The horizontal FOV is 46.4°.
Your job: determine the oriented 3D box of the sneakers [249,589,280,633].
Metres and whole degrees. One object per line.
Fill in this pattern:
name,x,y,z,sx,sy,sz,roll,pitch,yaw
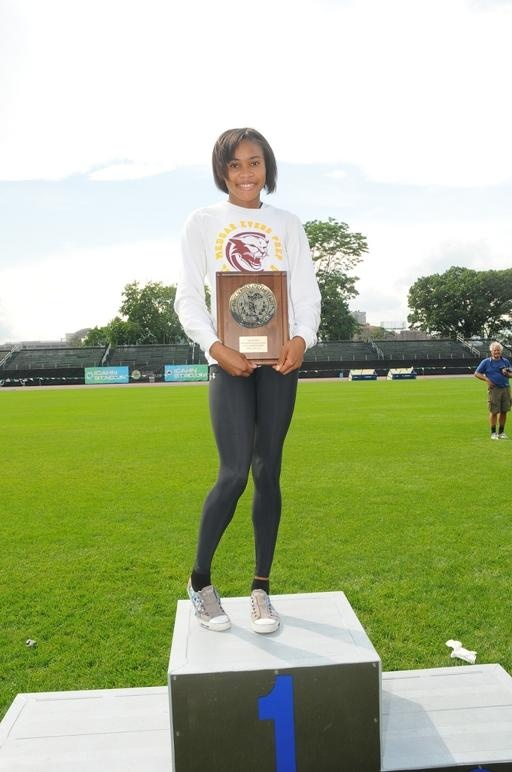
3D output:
sneakers,0.026,0.777,2.046,0.084,0.092,0.231,-1,-7,-1

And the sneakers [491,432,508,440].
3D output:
sneakers,3.999,0.829,9.814,0.113,0.142,0.331,0,-5,0

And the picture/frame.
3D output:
picture/frame,-0.020,-0.247,2.206,0.349,0.479,0.065,0,-4,-3

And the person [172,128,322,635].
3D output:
person,-0.045,-0.082,2.238,0.574,1.812,0.772,-1,6,5
